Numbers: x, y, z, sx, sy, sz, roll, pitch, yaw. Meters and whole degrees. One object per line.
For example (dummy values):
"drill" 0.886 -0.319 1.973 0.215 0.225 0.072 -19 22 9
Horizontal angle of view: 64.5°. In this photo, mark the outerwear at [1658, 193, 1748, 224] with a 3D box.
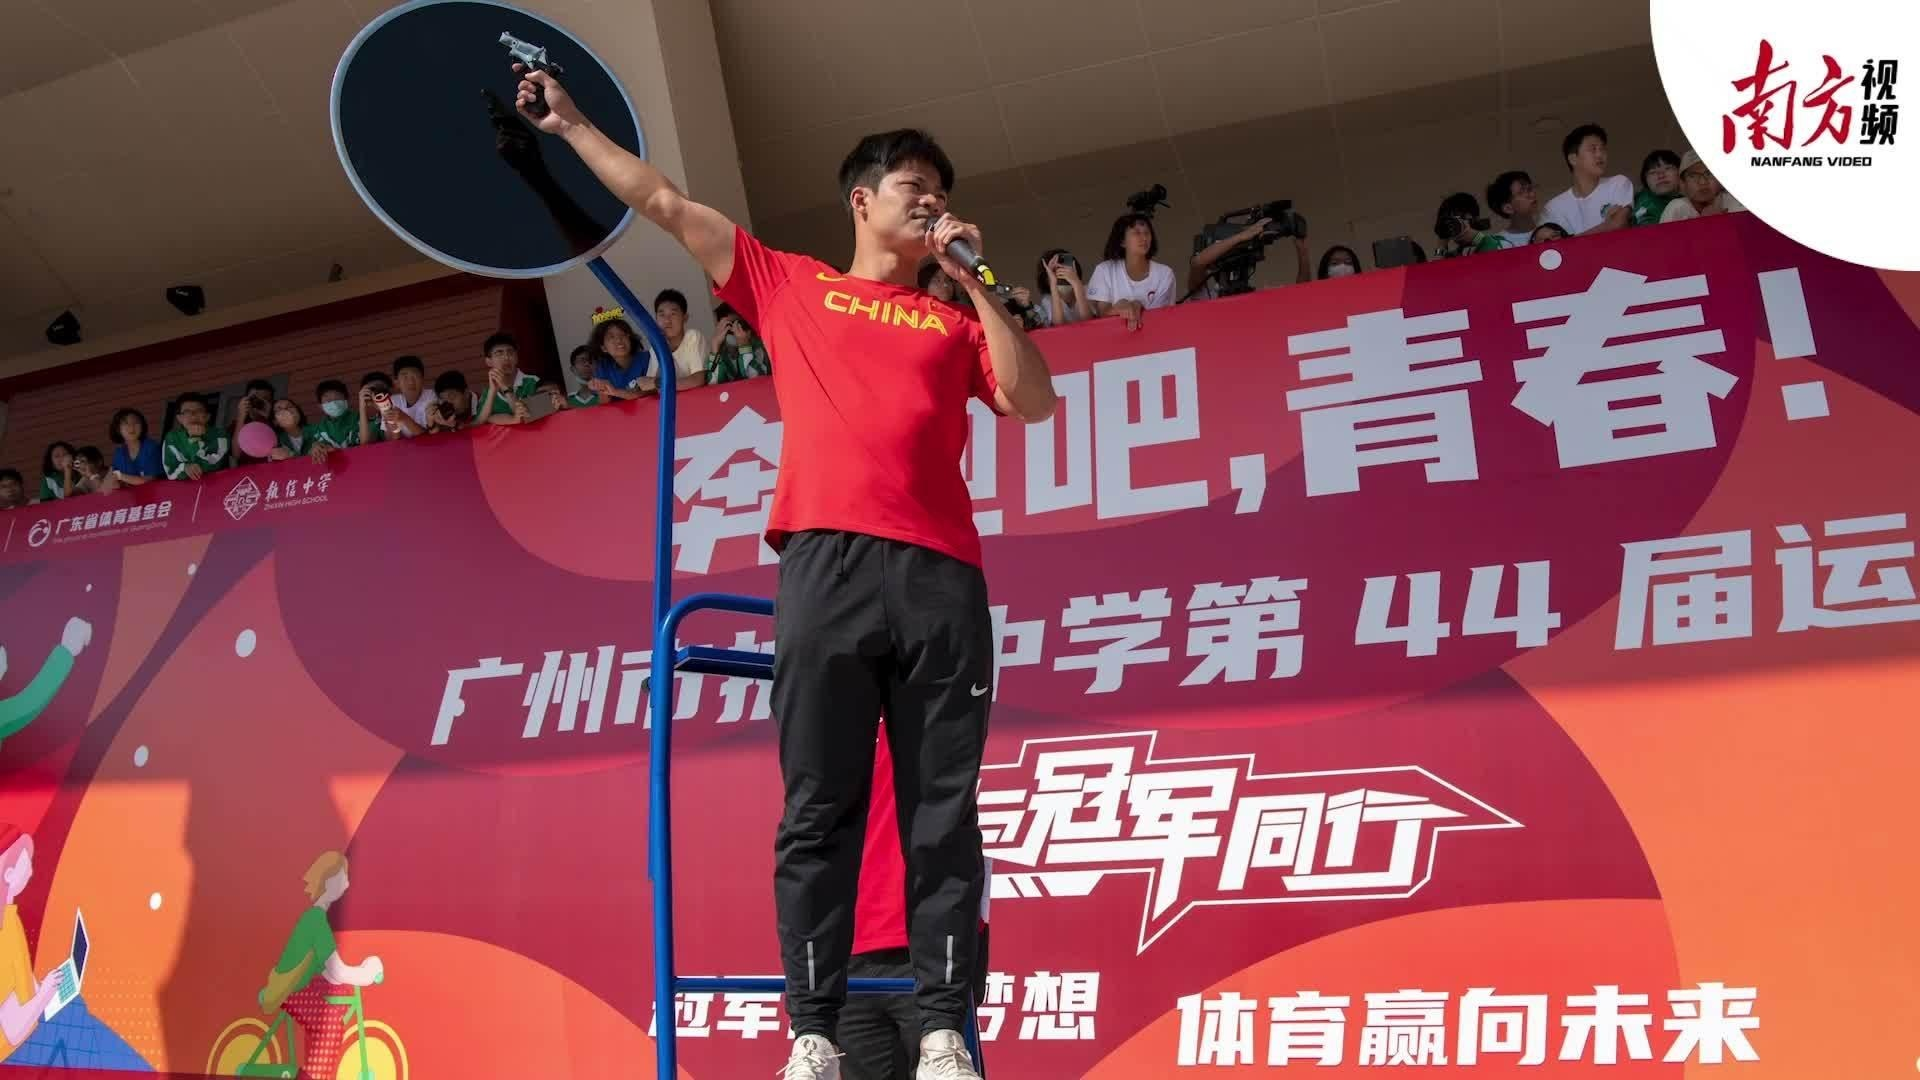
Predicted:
"outerwear" 3.525 -1.590 7.232 0.249 0.096 0.243 -6 -25 0

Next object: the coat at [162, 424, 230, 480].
"coat" -4.240 -0.514 8.471 0.300 0.383 0.153 -7 -15 17

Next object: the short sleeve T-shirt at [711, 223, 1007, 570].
"short sleeve T-shirt" -0.347 -0.453 5.325 1.437 1.100 0.343 8 1 2

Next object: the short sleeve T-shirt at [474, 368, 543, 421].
"short sleeve T-shirt" -2.362 -0.751 7.974 0.258 0.334 0.136 2 17 -3

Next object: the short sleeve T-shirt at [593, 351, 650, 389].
"short sleeve T-shirt" -1.797 -0.916 8.136 0.253 0.226 0.138 1 4 -1

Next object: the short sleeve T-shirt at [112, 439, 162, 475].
"short sleeve T-shirt" -4.613 -0.471 8.567 0.200 0.179 0.107 -4 -26 -12

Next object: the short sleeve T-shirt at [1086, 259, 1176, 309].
"short sleeve T-shirt" 0.904 -1.379 8.150 0.496 0.356 0.264 1 0 21

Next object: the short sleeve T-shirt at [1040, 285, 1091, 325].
"short sleeve T-shirt" 0.530 -1.198 7.709 0.248 0.243 0.099 0 2 -5

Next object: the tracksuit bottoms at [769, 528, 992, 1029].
"tracksuit bottoms" -0.295 0.839 5.326 0.765 1.641 0.714 1 -28 1
